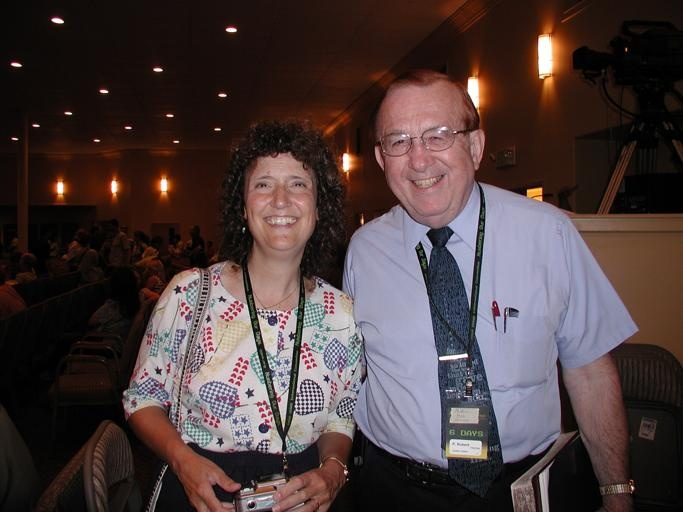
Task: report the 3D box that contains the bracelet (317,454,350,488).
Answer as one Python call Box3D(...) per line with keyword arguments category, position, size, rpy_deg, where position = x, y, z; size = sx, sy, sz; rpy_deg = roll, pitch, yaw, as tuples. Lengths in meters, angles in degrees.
Box3D(category="bracelet", position=(-0.034, 0.978, 2.427), size=(0.133, 0.169, 0.203), rpy_deg=(-1, 2, -3))
